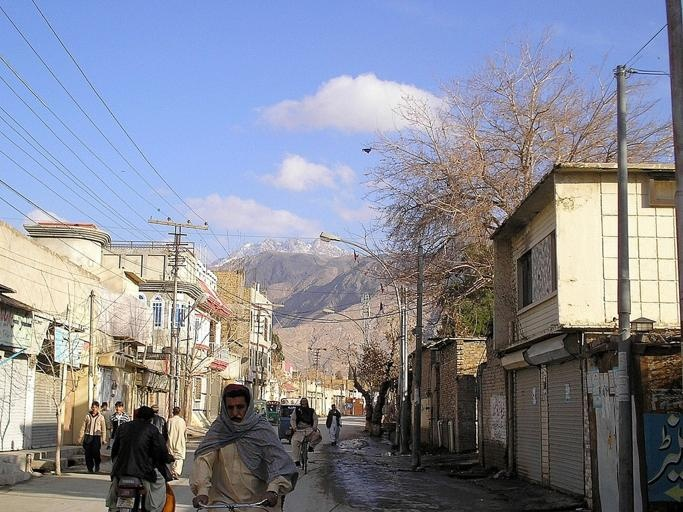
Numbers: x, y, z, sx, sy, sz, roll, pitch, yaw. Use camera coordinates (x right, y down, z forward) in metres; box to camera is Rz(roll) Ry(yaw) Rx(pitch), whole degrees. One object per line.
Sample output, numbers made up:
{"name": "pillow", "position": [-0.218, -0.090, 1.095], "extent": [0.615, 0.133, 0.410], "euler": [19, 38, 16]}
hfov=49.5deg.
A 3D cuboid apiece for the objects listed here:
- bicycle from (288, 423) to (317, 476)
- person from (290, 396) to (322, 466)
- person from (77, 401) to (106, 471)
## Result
{"name": "bicycle", "position": [-1.099, 5.822, 22.601], "extent": [0.751, 1.194, 1.917], "euler": [-1, 1, -3]}
{"name": "person", "position": [-1.067, 5.250, 22.136], "extent": [0.892, 1.836, 1.135], "euler": [-1, 1, 22]}
{"name": "person", "position": [-7.036, 5.157, 21.033], "extent": [0.652, 1.955, 1.392], "euler": [4, -18, -20]}
